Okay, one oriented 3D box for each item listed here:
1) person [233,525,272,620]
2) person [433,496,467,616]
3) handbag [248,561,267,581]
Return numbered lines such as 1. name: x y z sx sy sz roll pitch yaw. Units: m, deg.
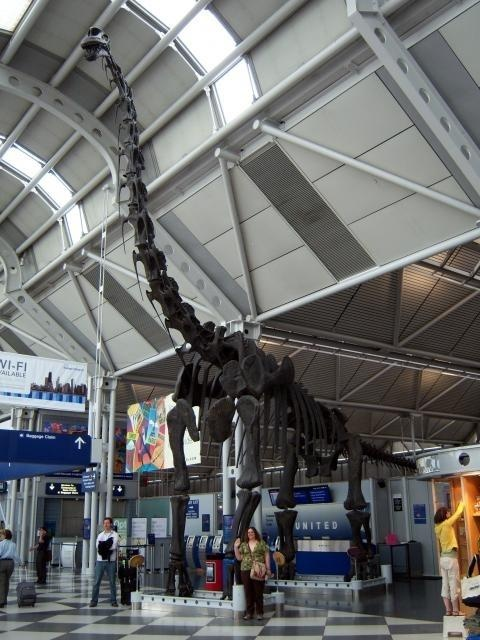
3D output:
1. person: 0.122 2.743 5.081 0.372 0.982 0.694 0 -17 0
2. person: 2.204 2.467 4.837 0.316 1.121 0.927 -7 -18 20
3. handbag: 0.175 2.568 4.821 0.203 0.190 0.097 7 -11 -15
